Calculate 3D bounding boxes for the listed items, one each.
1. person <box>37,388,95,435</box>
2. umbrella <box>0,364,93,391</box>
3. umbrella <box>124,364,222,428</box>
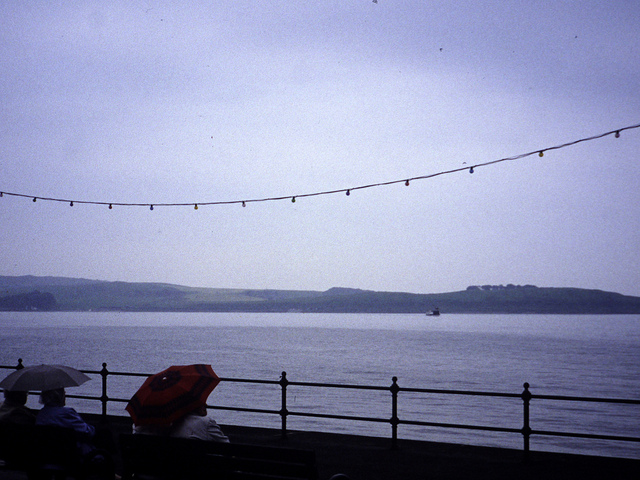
[{"bbox_3d":[-4.526,3.070,13.364,1.039,1.093,0.686,1,0,13],"label":"person"},{"bbox_3d":[-5.194,2.578,13.777,1.440,0.447,0.820,2,-5,-4],"label":"umbrella"},{"bbox_3d":[-2.607,2.804,13.218,1.502,1.062,0.880,3,-5,-14],"label":"umbrella"}]
